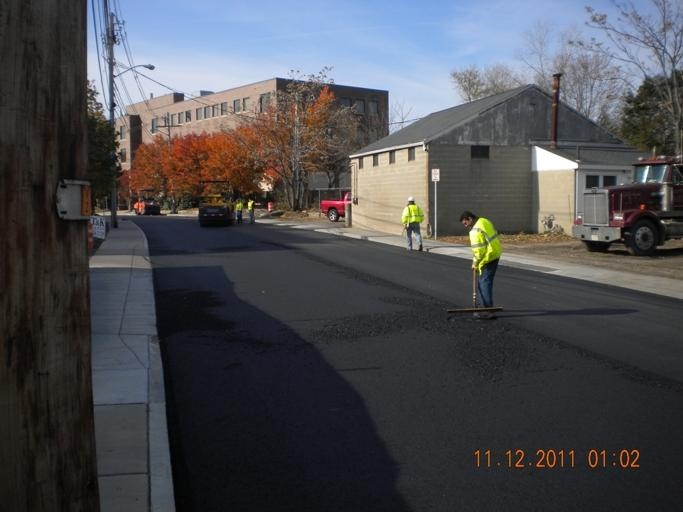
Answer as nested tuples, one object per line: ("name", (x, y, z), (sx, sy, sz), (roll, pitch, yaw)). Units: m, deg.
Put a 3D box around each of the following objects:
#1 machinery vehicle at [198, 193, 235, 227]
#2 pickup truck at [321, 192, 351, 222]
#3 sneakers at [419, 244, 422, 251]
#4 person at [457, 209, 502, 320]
("machinery vehicle", (-7.279, -2.665, 41.852), (2.519, 2.419, 4.829), (0, 9, -8))
("pickup truck", (-0.378, -2.795, 42.269), (2.051, 1.225, 1.252), (-2, 2, 35))
("sneakers", (2.573, -0.247, 23.464), (0.111, 0.148, 0.120), (-1, 0, 23))
("person", (2.269, 0.062, 11.584), (0.541, 1.585, 0.562), (-2, 21, 23))
